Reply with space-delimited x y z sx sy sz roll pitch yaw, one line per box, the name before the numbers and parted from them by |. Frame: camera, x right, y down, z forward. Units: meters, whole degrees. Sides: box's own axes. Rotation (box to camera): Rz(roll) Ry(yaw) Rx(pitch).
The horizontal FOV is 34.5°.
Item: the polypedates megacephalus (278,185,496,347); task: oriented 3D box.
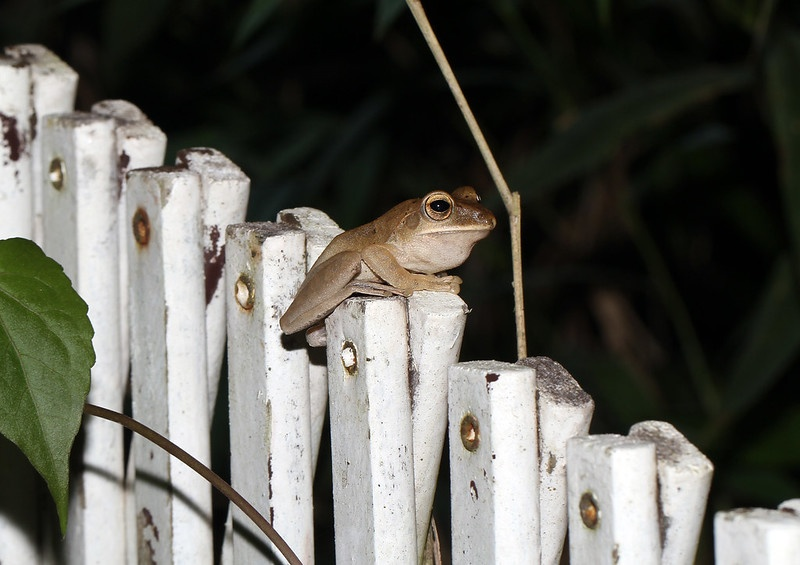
polypedates megacephalus | -0.010 -0.083 3.347 0.450 0.234 0.389 -16 -3 6
